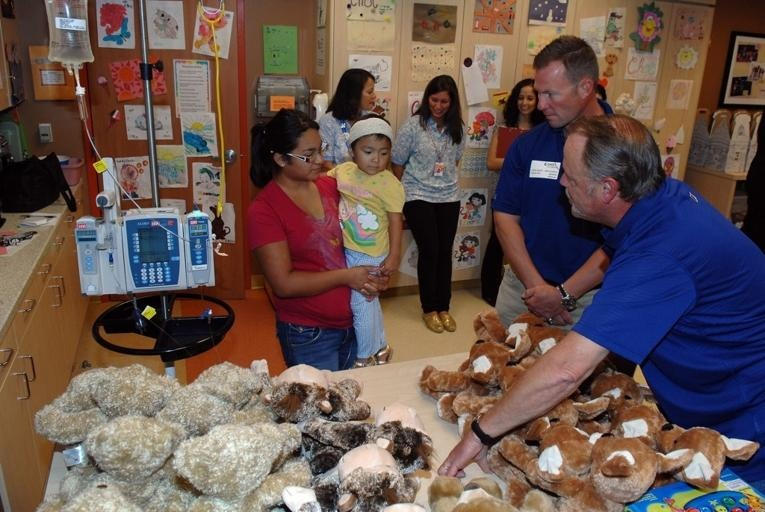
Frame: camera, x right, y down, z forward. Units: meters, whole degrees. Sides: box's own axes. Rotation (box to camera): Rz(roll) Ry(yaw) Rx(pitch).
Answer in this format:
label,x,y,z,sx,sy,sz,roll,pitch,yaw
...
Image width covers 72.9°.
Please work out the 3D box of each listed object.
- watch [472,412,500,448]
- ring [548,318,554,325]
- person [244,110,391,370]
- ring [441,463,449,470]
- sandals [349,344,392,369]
label,x,y,z,sx,sy,sz,roll,pitch,yaw
watch,0.346,0.612,1.819,0.097,0.035,0.098,48,8,10
ring,0.870,0.335,2.652,0.026,0.011,0.036,-13,36,2
person,-0.306,0.243,2.746,0.641,1.926,0.628,-9,25,-13
ring,0.219,0.730,1.801,0.018,0.007,0.018,-7,34,5
sandals,-0.041,0.559,2.784,0.238,0.106,0.081,-21,22,-35
